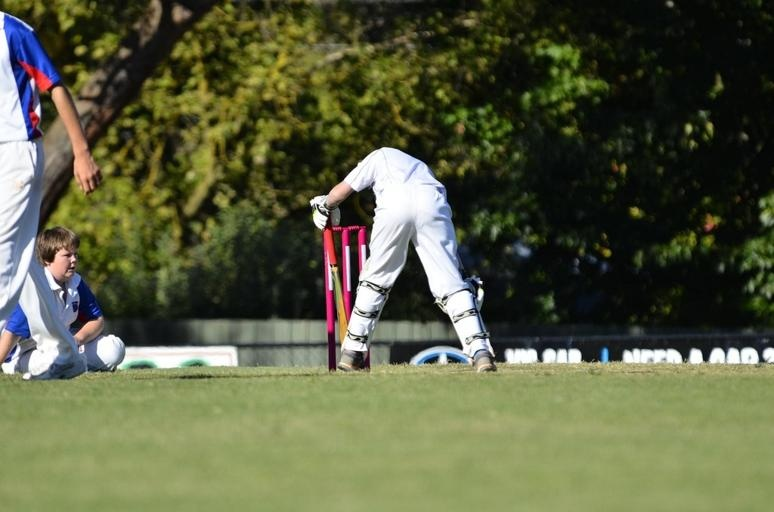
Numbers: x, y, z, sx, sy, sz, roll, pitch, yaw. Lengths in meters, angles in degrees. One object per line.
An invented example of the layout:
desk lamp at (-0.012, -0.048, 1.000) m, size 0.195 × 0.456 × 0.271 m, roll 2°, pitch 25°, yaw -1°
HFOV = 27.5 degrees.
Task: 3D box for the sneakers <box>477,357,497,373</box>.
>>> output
sneakers at (1.271, 1.394, 20.054) m, size 0.270 × 0.202 × 0.202 m, roll 0°, pitch -4°, yaw 4°

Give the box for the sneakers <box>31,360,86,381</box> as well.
sneakers at (-4.064, 1.433, 19.597) m, size 0.605 × 0.260 × 0.220 m, roll 0°, pitch 6°, yaw -22°
